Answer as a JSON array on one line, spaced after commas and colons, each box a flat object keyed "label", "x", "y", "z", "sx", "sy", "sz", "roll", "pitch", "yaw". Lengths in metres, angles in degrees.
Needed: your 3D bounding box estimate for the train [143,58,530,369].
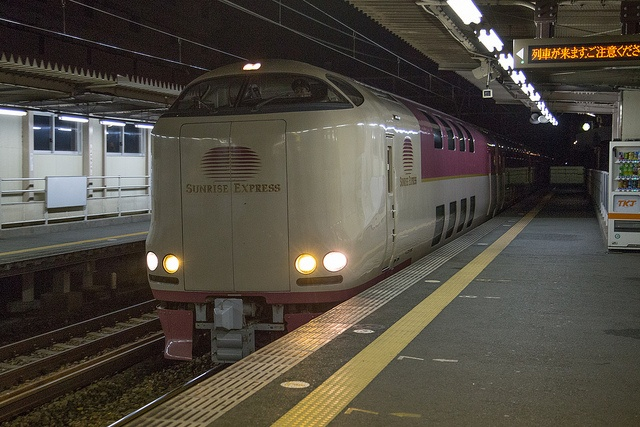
[{"label": "train", "x": 2.324, "y": -0.731, "z": 13.166, "sx": 3.000, "sy": 4.185, "sz": 15.744, "roll": 1, "pitch": 6, "yaw": 26}]
